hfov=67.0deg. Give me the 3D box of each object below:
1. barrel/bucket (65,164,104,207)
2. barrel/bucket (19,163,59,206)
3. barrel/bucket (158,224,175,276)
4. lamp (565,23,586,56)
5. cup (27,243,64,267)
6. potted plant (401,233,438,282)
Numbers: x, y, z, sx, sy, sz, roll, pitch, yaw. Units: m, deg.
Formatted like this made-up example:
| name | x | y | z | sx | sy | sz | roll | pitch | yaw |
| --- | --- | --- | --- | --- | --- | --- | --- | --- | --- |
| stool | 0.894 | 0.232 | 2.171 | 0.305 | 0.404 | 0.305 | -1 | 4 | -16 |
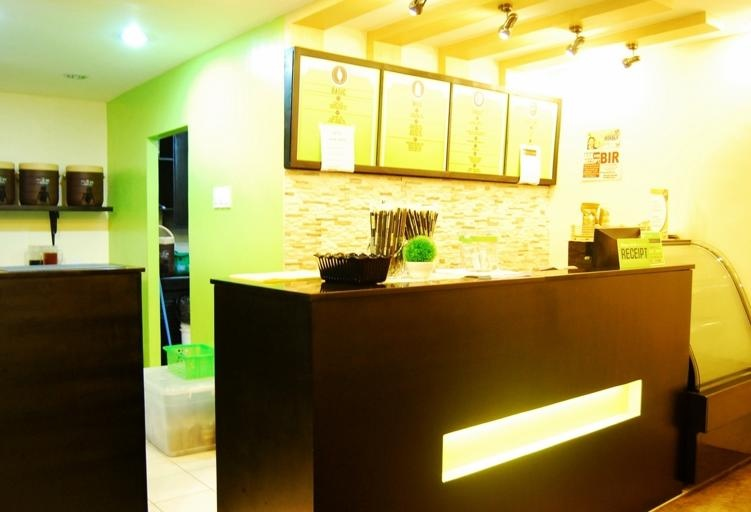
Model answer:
| name | x | y | z | sx | sy | sz | roll | pitch | yaw |
| --- | --- | --- | --- | --- | --- | --- | --- | --- | --- |
| barrel/bucket | -3.129 | -0.751 | 6.135 | 0.439 | 0.498 | 0.438 | 3 | 7 | 0 |
| barrel/bucket | -3.480 | -0.743 | 6.021 | 0.436 | 0.489 | 0.434 | 3 | 6 | 0 |
| barrel/bucket | -2.433 | -0.048 | 6.616 | 0.165 | 0.583 | 0.311 | -1 | 5 | -20 |
| lamp | 1.593 | -1.748 | 4.542 | 0.093 | 0.285 | 0.128 | 0 | 40 | -3 |
| cup | -2.189 | -0.003 | 3.751 | 0.177 | 0.117 | 0.196 | -3 | 6 | -38 |
| potted plant | 0.232 | 0.009 | 3.165 | 0.216 | 0.231 | 0.221 | -3 | 2 | -19 |
